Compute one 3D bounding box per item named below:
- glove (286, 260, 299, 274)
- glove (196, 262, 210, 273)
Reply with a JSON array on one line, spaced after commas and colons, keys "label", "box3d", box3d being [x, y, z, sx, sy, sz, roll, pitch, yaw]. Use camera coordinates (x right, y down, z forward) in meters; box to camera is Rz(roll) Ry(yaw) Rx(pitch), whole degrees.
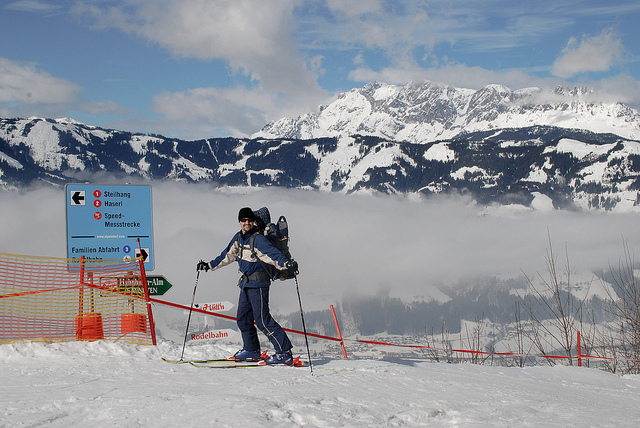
[{"label": "glove", "box3d": [-0.856, 1.627, 26.490, 0.272, 0.324, 0.350, 5, -36, 11]}, {"label": "glove", "box3d": [-3.753, 1.663, 27.451, 0.415, 0.353, 0.301, 6, 6, -7]}]
